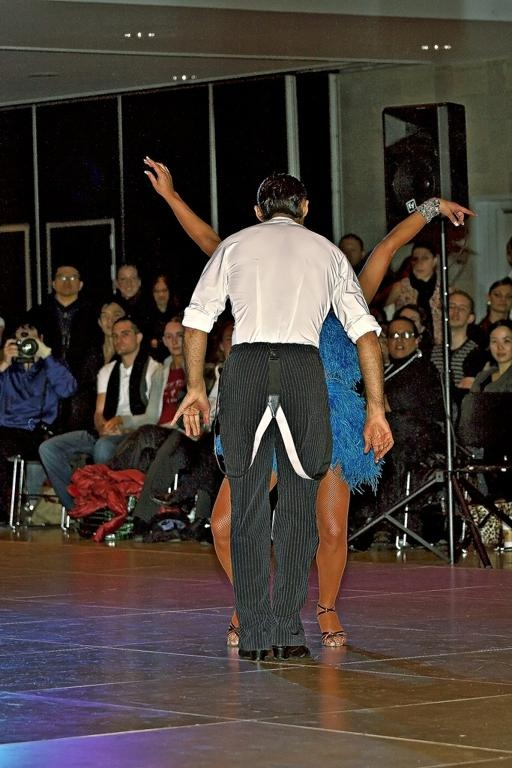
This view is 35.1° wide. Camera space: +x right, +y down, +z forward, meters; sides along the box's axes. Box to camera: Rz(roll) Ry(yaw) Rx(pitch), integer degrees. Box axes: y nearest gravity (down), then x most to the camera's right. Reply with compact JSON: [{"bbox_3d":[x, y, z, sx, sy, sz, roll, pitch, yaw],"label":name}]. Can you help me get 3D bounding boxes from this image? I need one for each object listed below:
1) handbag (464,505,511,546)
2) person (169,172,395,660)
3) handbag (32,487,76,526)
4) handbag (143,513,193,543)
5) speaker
[{"bbox_3d":[1.524,0.925,5.358,0.345,0.297,0.074,-10,15,-34],"label":"handbag"},{"bbox_3d":[0.071,0.067,2.177,0.589,1.314,0.356,0,-3,5],"label":"person"},{"bbox_3d":[-1.790,1.084,7.013,0.336,0.352,0.124,-2,-2,16],"label":"handbag"},{"bbox_3d":[-0.623,1.026,5.758,0.239,0.088,0.262,1,-1,9],"label":"handbag"},{"bbox_3d":[1.095,-1.248,4.970,0.527,0.755,0.504,-3,3,-41],"label":"speaker"}]
